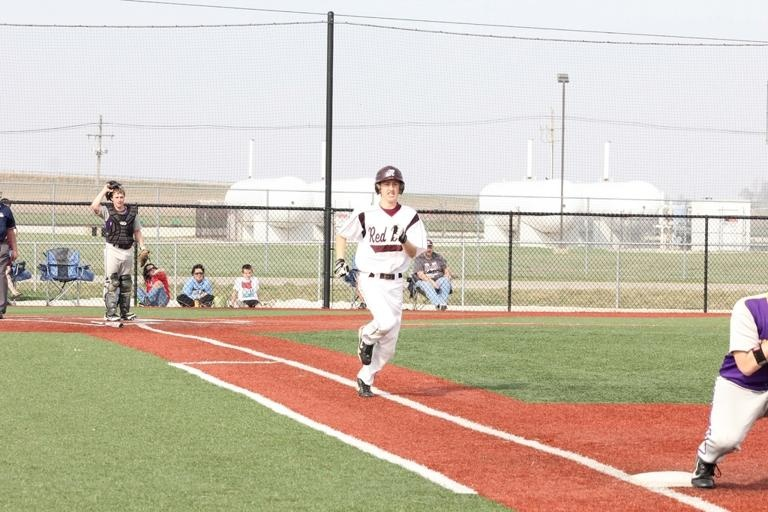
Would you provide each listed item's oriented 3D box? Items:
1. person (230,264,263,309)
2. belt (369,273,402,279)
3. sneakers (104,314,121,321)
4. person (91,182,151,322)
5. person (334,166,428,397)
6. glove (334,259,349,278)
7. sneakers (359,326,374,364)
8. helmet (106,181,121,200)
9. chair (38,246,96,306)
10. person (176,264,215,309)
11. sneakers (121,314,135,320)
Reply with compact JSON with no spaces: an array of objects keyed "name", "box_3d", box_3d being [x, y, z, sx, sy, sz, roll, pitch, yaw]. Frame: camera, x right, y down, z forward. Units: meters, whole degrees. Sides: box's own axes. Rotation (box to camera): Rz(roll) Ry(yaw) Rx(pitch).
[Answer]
[{"name":"person","box_3d":[-3.375,0.809,27.039,1.030,1.339,0.746,1,0,-23]},{"name":"belt","box_3d":[0.023,0.264,13.963,0.430,0.079,0.096,0,9,-12]},{"name":"sneakers","box_3d":[-4.591,1.070,18.632,0.308,0.144,0.112,-4,-5,42]},{"name":"person","box_3d":[-4.383,-0.009,18.291,0.854,2.460,0.998,0,10,-12]},{"name":"person","box_3d":[-0.052,0.504,14.038,1.141,2.617,0.698,1,10,-2]},{"name":"glove","box_3d":[-0.528,0.185,13.872,0.170,0.261,0.518,2,9,-2]},{"name":"sneakers","box_3d":[-0.240,1.146,13.995,0.167,0.481,0.195,-5,-3,-39]},{"name":"helmet","box_3d":[-4.379,-1.076,17.908,0.249,0.181,0.328,2,-9,-33]},{"name":"chair","box_3d":[-7.124,0.472,24.791,1.163,1.172,0.838,0,5,-23]},{"name":"person","box_3d":[-4.183,0.714,24.515,1.016,1.202,0.863,0,3,-16]},{"name":"sneakers","box_3d":[-4.347,1.057,18.838,0.105,0.136,0.280,-4,-5,-39]}]
